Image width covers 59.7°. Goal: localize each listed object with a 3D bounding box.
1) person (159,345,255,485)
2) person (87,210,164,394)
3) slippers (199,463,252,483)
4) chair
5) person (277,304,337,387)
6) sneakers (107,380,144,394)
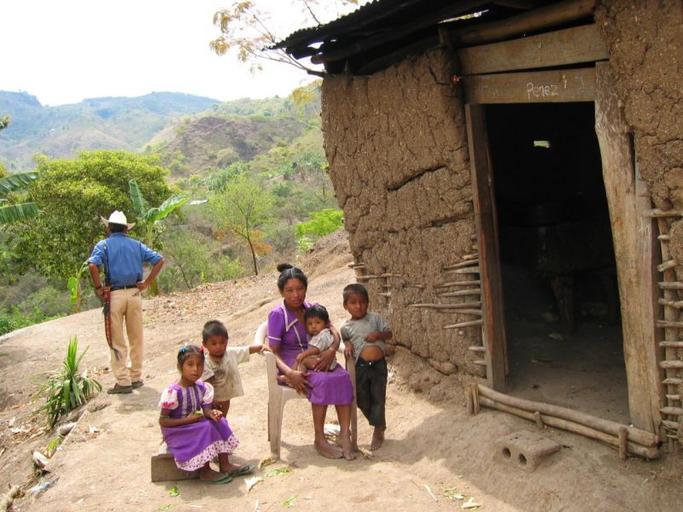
[{"bbox_3d":[-1.261,1.402,5.287,0.694,1.226,0.302,-5,6,-13],"label":"person"},{"bbox_3d":[-2.692,0.576,7.455,0.882,2.248,0.517,-10,9,-43],"label":"person"},{"bbox_3d":[-1.047,1.951,5.319,0.341,0.093,0.186,-12,-8,17],"label":"slippers"},{"bbox_3d":[-0.371,1.259,5.940,0.898,1.262,0.859,-5,6,-10],"label":"chair"},{"bbox_3d":[-0.474,0.913,5.983,0.706,1.019,0.547,5,-19,-9],"label":"person"},{"bbox_3d":[-2.740,1.665,7.504,0.289,0.129,0.160,2,5,8],"label":"sneakers"}]
